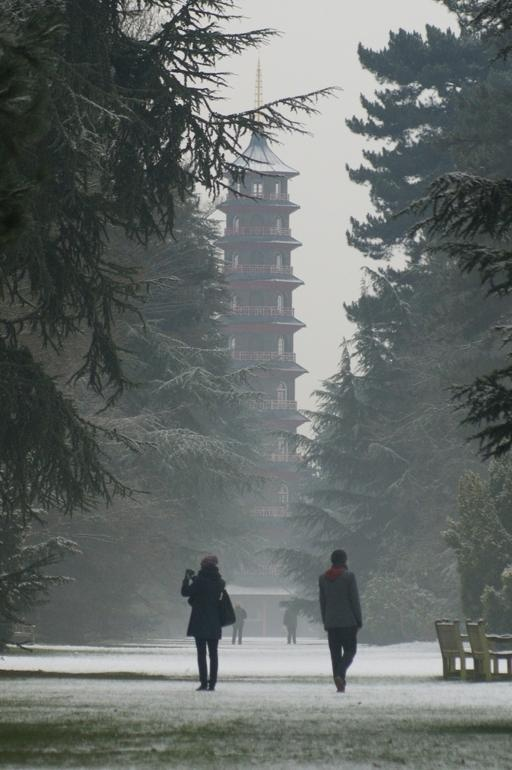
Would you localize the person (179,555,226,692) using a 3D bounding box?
[{"bbox_3d":[-0.427,2.110,20.776,0.382,1.333,1.036,-2,-17,-1],"label":"person"}]

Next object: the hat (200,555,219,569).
[{"bbox_3d":[-0.371,1.555,21.013,0.138,0.153,0.120,1,23,-25],"label":"hat"}]
